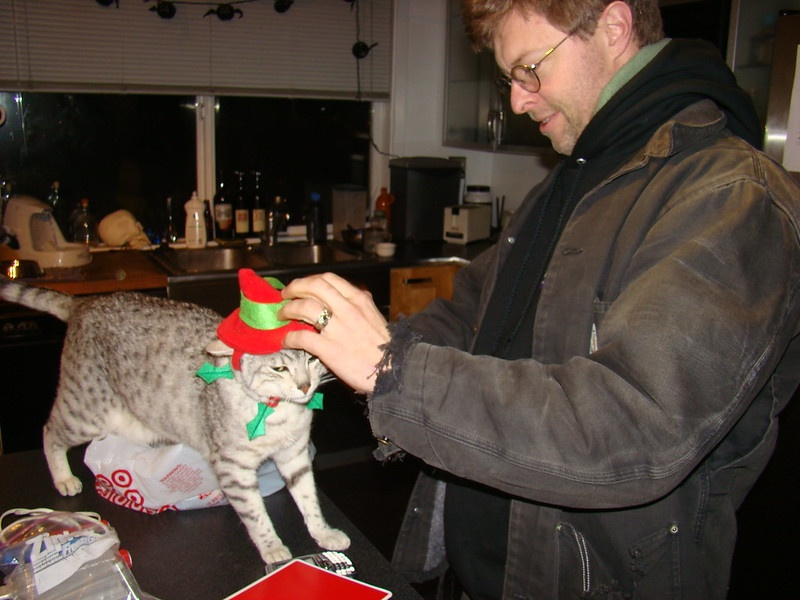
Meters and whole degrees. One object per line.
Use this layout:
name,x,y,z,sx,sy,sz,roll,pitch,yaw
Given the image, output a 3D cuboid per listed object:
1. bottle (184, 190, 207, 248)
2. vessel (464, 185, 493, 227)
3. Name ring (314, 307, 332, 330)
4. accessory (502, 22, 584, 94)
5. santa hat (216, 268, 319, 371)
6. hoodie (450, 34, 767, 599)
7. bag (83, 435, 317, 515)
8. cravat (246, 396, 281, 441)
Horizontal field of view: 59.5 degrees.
bottle,-1.173,-0.450,3.970,0.125,0.302,0.191,-6,12,-17
vessel,0.503,-0.605,4.664,0.220,0.370,0.333,3,10,4
Name ring,-0.143,0.036,1.300,0.024,0.041,0.044,21,-6,8
accessory,0.310,-0.544,1.590,0.108,0.034,0.103,-42,16,-10
santa hat,-0.314,0.034,1.549,0.154,0.117,0.232,2,27,-7
hoodie,0.359,0.043,1.655,0.287,1.262,0.758,14,22,-16
bag,-0.589,0.416,1.684,0.243,0.100,0.188,5,0,21
cravat,-0.335,0.275,1.710,0.051,0.032,0.125,30,50,-13
